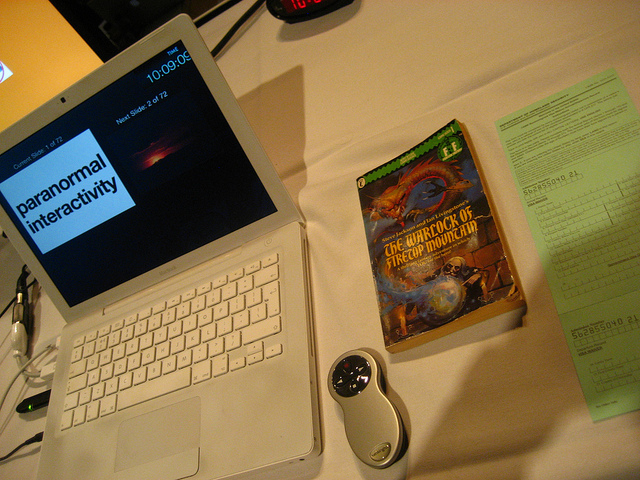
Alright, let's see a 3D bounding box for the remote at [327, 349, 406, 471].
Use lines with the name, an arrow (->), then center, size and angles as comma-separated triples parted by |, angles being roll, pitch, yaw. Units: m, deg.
remote -> 0.068, 0.254, 0.811 | 0.104, 0.175, 0.034 | -31, -35, 9
